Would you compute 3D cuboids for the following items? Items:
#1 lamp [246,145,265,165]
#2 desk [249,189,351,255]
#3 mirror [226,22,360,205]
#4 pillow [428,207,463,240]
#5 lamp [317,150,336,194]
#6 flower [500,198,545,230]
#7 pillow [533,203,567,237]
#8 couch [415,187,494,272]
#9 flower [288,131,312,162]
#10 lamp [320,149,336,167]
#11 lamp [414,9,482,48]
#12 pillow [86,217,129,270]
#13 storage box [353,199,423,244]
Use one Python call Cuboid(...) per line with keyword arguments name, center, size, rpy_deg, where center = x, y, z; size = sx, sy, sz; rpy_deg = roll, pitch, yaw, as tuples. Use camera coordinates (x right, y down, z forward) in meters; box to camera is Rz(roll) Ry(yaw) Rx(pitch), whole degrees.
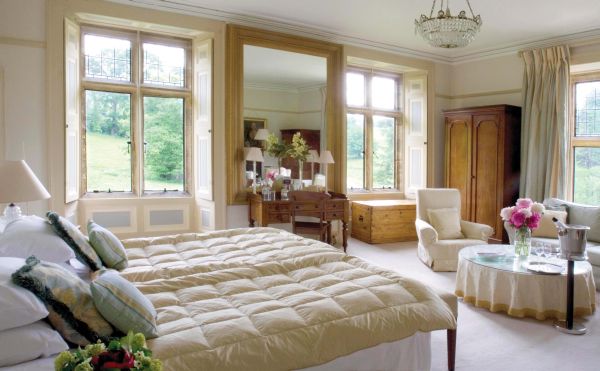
Cuboid(name="lamp", center=(-0.741, -0.498, 7.052), size=(0.298, 0.282, 0.264), rpy_deg=(1, -4, -19))
Cuboid(name="desk", center=(0.071, 0.644, 7.130), size=(1.470, 1.056, 1.045), rpy_deg=(-1, 2, -14))
Cuboid(name="mirror", center=(-0.205, -1.296, 7.410), size=(3.367, 4.172, 0.192), rpy_deg=(0, -1, -29))
Cuboid(name="pillow", center=(2.287, 0.626, 6.781), size=(0.521, 0.469, 0.153), rpy_deg=(-3, -17, -21))
Cuboid(name="lamp", center=(0.484, -0.247, 7.604), size=(0.372, 0.733, 0.362), rpy_deg=(-1, 1, -17))
Cuboid(name="flower", center=(2.904, 0.452, 5.581), size=(0.484, 0.403, 0.448), rpy_deg=(9, -4, -9))
Cuboid(name="pillow", center=(3.851, 0.593, 6.521), size=(0.274, 0.478, 0.589), rpy_deg=(5, -7, -15))
Cuboid(name="couch", center=(2.356, 0.701, 7.098), size=(1.352, 1.391, 1.269), rpy_deg=(0, -4, -5))
Cuboid(name="flower", center=(-0.001, -0.688, 7.658), size=(0.512, 0.486, 0.492), rpy_deg=(1, -2, -26))
Cuboid(name="lamp", center=(0.474, -0.490, 7.565), size=(0.260, 0.177, 0.253), rpy_deg=(0, -4, -4))
Cuboid(name="lamp", center=(1.910, -2.072, 5.623), size=(0.647, 0.297, 0.629), rpy_deg=(2, -3, -37))
Cuboid(name="pillow", center=(-2.116, 0.633, 4.707), size=(0.411, 0.383, 0.924), rpy_deg=(8, 1, -33))
Cuboid(name="storage box", center=(1.513, 0.490, 8.297), size=(1.380, 0.632, 0.763), rpy_deg=(-1, 2, -17))
